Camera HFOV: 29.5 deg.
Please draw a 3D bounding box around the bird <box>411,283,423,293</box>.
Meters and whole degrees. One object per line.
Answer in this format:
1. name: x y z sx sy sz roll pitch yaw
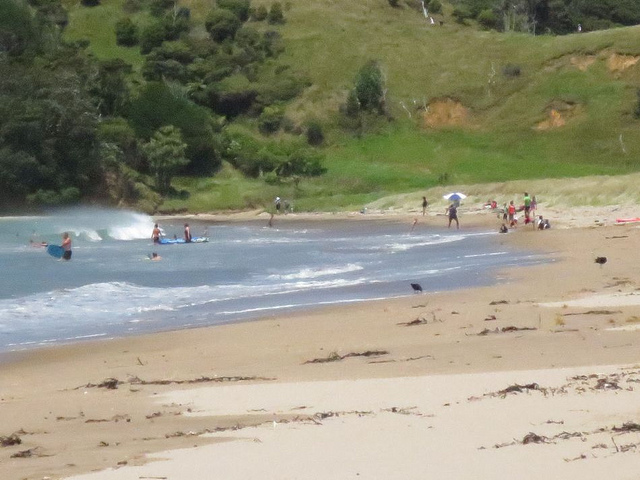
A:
1. bird: 6.970 3.466 88.513 0.744 0.692 0.462 -4 8 -3
